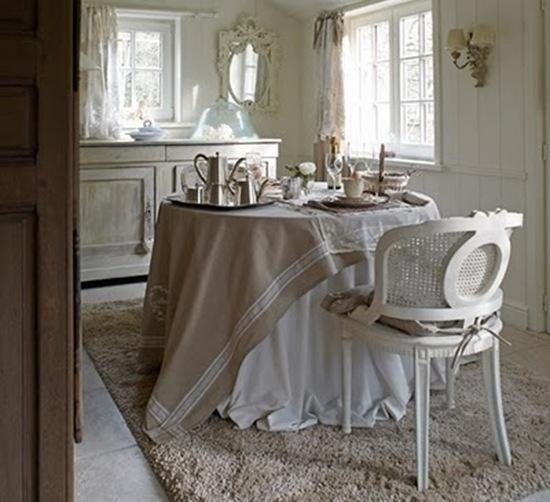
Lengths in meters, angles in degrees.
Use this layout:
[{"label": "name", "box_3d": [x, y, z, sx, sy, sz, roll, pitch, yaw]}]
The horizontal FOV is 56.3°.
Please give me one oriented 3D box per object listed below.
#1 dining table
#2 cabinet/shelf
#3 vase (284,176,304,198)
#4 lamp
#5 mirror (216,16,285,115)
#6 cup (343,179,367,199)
[{"label": "dining table", "box_3d": [0.077, 0.023, 2.650, 1.268, 1.131, 1.340, 7, 22, -21]}, {"label": "cabinet/shelf", "box_3d": [-1.232, -0.306, 3.979, 0.799, 1.047, 0.286, -3, 5, -34]}, {"label": "vase", "box_3d": [0.091, -0.313, 2.470, 0.082, 0.105, 0.079, -1, 5, 0]}, {"label": "lamp", "box_3d": [1.269, -1.272, 3.343, 0.284, 0.393, 0.321, 4, 11, 25]}, {"label": "mirror", "box_3d": [-0.253, -1.848, 5.154, 0.633, 1.008, 0.026, -2, 46, -5]}, {"label": "cup", "box_3d": [0.360, -0.280, 2.321, 0.089, 0.091, 0.066, 2, -2, -20]}]
